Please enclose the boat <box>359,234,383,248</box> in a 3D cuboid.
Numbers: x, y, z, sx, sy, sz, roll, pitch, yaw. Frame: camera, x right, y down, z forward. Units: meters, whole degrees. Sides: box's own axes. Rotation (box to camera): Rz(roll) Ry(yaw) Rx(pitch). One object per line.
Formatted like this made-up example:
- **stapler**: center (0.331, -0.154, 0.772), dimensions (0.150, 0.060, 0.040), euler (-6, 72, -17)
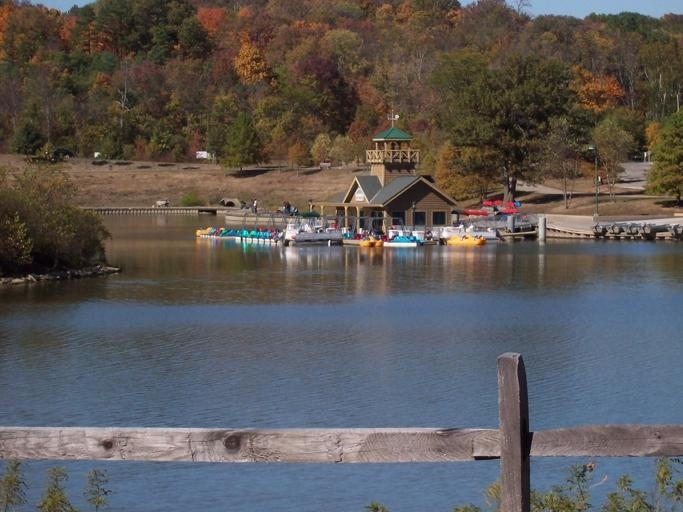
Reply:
- **boat**: center (4.044, -1.534, 245.129), dimensions (3.570, 1.536, 2.003), euler (-1, 3, 41)
